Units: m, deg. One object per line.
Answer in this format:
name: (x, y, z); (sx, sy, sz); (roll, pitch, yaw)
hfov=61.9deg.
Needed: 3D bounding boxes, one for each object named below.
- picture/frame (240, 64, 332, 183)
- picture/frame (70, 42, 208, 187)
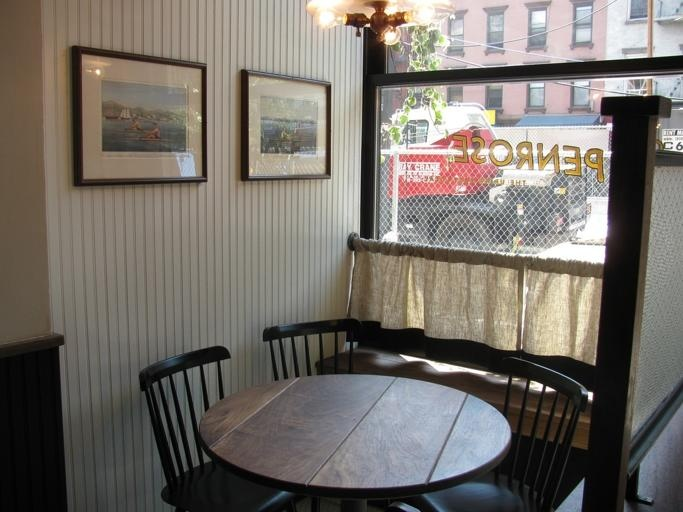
picture/frame: (-0.312, -0.725, 3.220); (0.596, 0.560, 0.033); (9, 14, 29)
picture/frame: (-0.931, -0.645, 2.542); (0.637, 0.651, 0.047); (-5, 8, -42)
